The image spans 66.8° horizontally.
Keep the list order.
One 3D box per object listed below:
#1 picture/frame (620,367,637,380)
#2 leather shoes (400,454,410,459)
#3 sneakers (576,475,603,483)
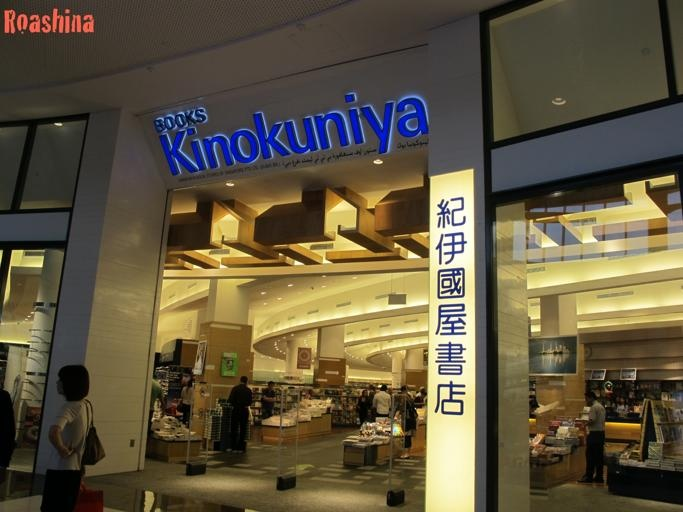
[{"bbox_3d":[8.191,3.354,14.792,0.039,0.334,0.390,21,-16,-24],"label":"picture/frame"},{"bbox_3d":[1.385,4.358,11.277,0.094,0.113,0.265,-11,-31,24],"label":"leather shoes"},{"bbox_3d":[4.033,3.637,8.466,0.320,0.130,0.100,5,-20,3],"label":"sneakers"}]
